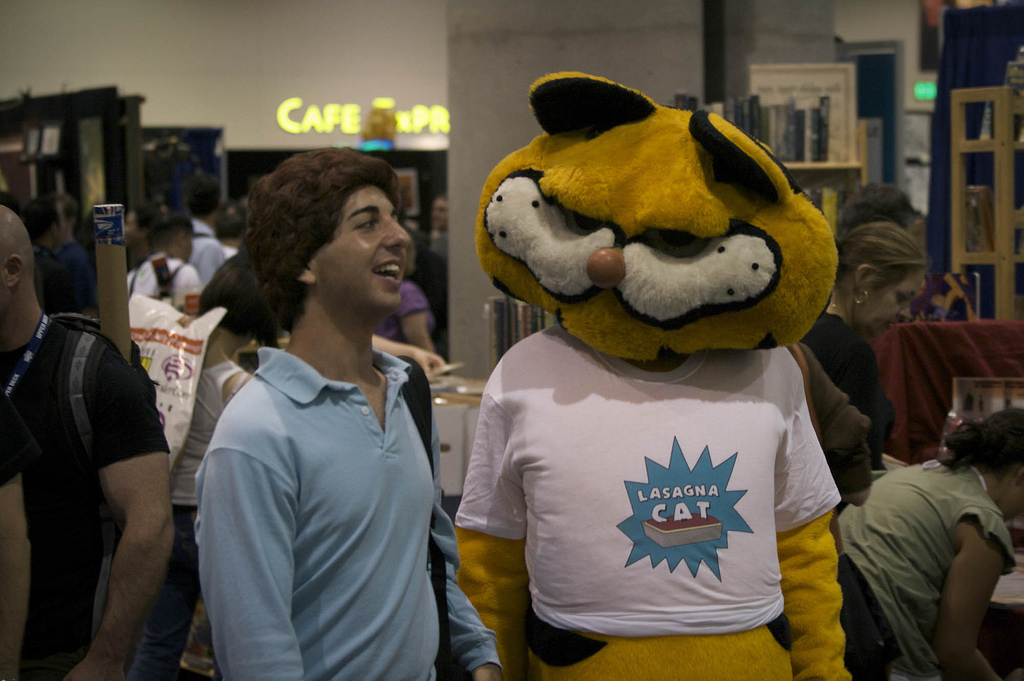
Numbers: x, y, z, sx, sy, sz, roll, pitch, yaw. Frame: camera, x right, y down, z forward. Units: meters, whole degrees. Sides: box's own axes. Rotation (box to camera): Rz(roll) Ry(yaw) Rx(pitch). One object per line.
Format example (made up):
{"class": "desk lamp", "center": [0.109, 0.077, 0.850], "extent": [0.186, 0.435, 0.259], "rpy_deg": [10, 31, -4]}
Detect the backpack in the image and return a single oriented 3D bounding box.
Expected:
{"class": "backpack", "center": [-1.404, 0.177, 4.394], "extent": [0.384, 0.527, 0.304], "rpy_deg": [-3, 6, -10]}
